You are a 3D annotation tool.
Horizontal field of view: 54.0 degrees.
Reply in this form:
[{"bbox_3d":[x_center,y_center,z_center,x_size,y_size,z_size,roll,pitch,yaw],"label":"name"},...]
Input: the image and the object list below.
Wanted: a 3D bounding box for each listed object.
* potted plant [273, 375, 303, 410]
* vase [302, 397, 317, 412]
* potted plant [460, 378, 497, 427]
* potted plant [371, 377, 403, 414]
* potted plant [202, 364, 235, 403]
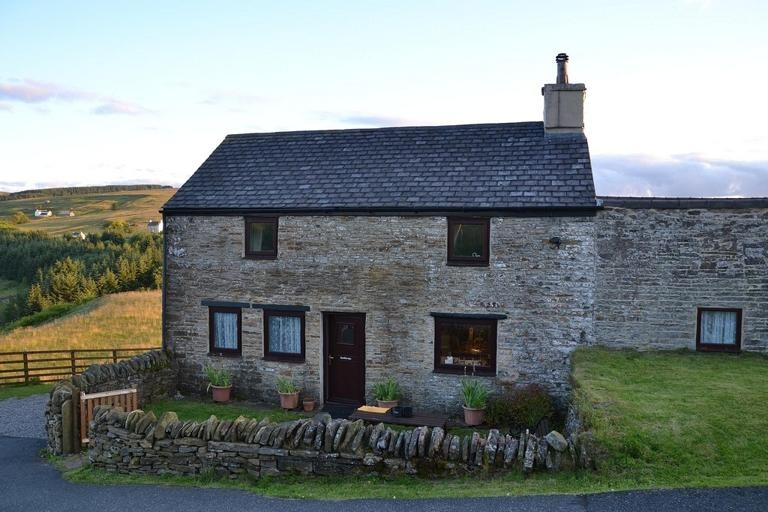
[{"bbox_3d":[-3.097,4.502,24.806,0.805,0.981,0.717,-2,5,-25],"label":"potted plant"},{"bbox_3d":[-2.422,4.851,24.597,0.464,0.381,0.344,2,0,-10],"label":"vase"},{"bbox_3d":[2.715,4.603,23.497,0.797,1.185,0.922,-3,-8,22],"label":"potted plant"},{"bbox_3d":[0.130,4.483,24.122,0.804,0.929,0.769,2,-4,29],"label":"potted plant"},{"bbox_3d":[-5.637,4.357,25.398,0.728,0.973,1.032,-4,-8,43],"label":"potted plant"}]
